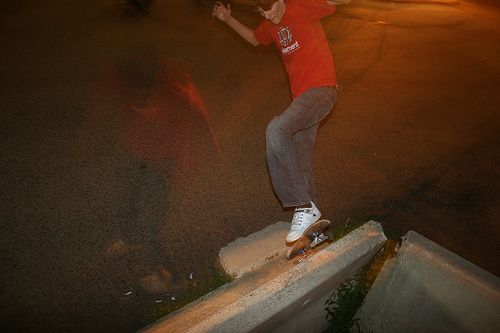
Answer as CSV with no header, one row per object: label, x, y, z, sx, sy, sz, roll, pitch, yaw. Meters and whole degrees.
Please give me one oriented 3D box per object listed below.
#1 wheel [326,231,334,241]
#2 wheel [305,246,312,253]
wheel,1.228,1.061,5.544,0.112,0.111,0.195,4,90,15
wheel,0.885,1.234,5.410,0.091,0.021,0.082,15,68,-7
